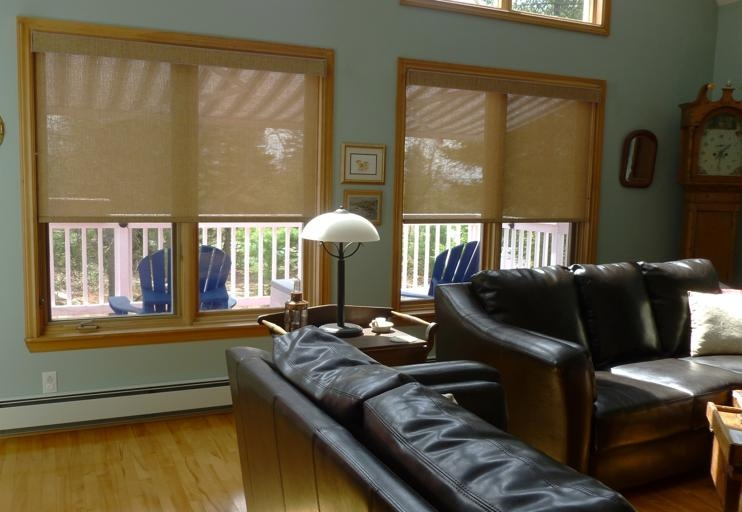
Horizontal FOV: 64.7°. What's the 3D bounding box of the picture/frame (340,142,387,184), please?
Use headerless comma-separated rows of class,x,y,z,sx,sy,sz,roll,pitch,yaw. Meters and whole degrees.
picture/frame,-0.070,-0.715,4.481,0.347,0.284,0.037,-1,3,-23

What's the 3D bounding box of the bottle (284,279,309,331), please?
bottle,-0.458,0.322,3.550,0.151,0.350,0.146,1,3,0

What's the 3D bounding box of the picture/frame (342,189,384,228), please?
picture/frame,-0.046,-0.376,4.536,0.279,0.264,0.023,3,15,8

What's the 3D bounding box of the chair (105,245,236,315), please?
chair,-1.506,0.169,4.402,0.575,0.741,0.610,-3,7,-38
